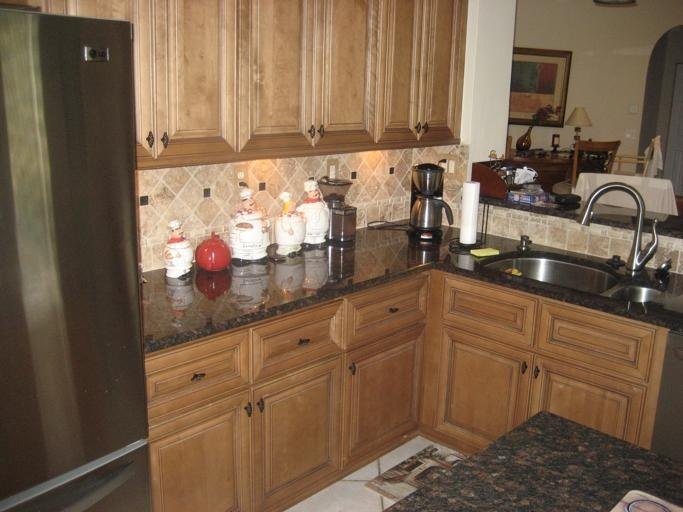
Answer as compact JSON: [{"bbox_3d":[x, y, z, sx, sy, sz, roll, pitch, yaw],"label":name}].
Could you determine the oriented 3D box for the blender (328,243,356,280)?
[{"bbox_3d":[-0.001,0.028,2.943,0.131,0.194,0.131,1,5,20],"label":"blender"}]

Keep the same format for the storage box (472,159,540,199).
[{"bbox_3d":[1.100,-0.517,3.613,0.368,0.241,0.510,12,19,38],"label":"storage box"}]

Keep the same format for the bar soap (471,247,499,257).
[{"bbox_3d":[0.833,-0.025,3.158,0.184,0.032,0.115,-6,16,-21],"label":"bar soap"}]

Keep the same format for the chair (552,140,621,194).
[{"bbox_3d":[3.239,-1.227,7.139,0.616,0.563,1.514,7,16,25],"label":"chair"}]

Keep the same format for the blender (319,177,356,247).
[{"bbox_3d":[-0.022,-0.266,3.189,0.209,0.383,0.140,-1,15,-3],"label":"blender"}]

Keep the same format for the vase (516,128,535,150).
[{"bbox_3d":[2.485,-1.589,7.439,0.181,0.326,0.400,4,15,15],"label":"vase"}]

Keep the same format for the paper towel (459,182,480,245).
[{"bbox_3d":[0.760,-0.253,3.254,0.098,0.366,0.131,2,15,10],"label":"paper towel"}]

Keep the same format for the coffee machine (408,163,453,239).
[{"bbox_3d":[0.552,-0.353,3.393,0.250,0.449,0.358,2,15,7],"label":"coffee machine"}]

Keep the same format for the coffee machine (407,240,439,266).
[{"bbox_3d":[0.467,-0.012,3.127,0.159,0.176,0.157,-9,21,-25],"label":"coffee machine"}]

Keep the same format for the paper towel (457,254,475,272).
[{"bbox_3d":[0.685,0.039,3.005,0.093,0.092,0.080,-20,33,-35],"label":"paper towel"}]

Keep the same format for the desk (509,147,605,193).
[{"bbox_3d":[2.487,-0.981,6.211,1.129,0.757,0.603,-5,13,-21],"label":"desk"}]

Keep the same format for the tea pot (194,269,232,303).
[{"bbox_3d":[-0.591,0.126,2.524,0.135,0.095,0.133,3,36,-2],"label":"tea pot"}]

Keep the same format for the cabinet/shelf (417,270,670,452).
[{"bbox_3d":[0.997,0.473,2.629,0.815,0.767,0.322,18,27,37],"label":"cabinet/shelf"}]
